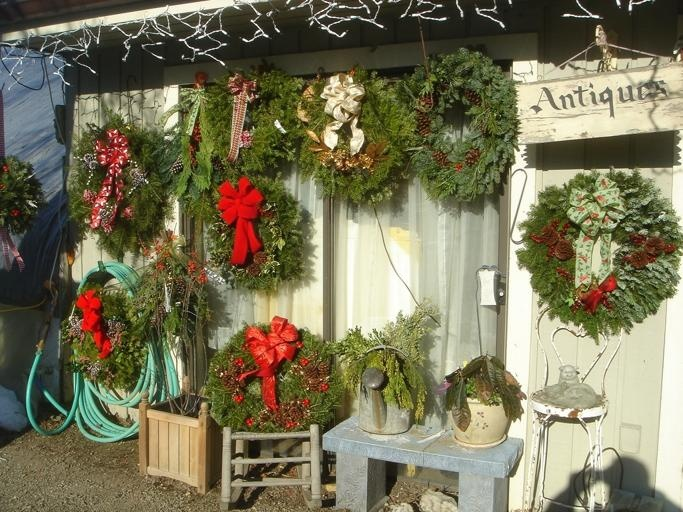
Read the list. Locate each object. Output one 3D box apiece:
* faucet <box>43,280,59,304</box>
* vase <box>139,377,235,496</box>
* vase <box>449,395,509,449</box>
[{"bbox_3d":[-2.558,0.313,5.909,0.115,0.187,0.041,8,10,27],"label":"faucet"},{"bbox_3d":[-1.129,1.334,5.146,0.569,0.710,0.608,5,4,23],"label":"vase"},{"bbox_3d":[0.904,1.097,4.437,0.315,0.274,0.322,1,-5,-26],"label":"vase"}]
